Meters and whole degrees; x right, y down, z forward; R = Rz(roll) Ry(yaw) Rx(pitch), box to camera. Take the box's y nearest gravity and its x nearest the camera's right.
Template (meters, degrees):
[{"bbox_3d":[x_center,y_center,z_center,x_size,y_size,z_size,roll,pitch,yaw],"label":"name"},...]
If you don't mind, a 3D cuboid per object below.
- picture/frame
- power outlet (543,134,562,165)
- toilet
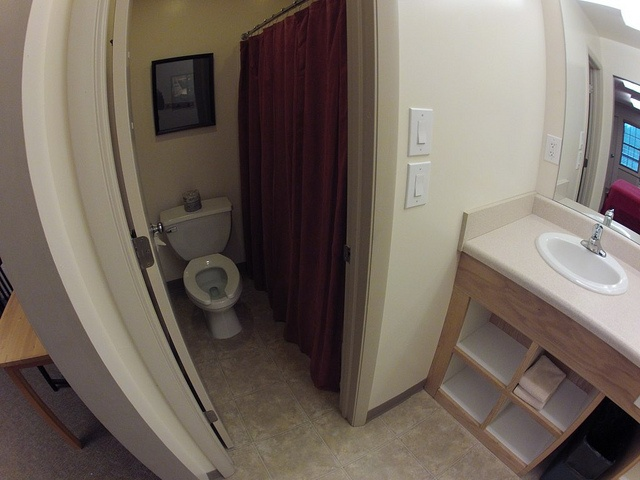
[{"bbox_3d":[-0.904,-0.979,2.895,0.421,0.498,0.034,-13,28,-31],"label":"picture/frame"},{"bbox_3d":[1.176,-0.460,2.244,0.064,0.137,0.024,8,-5,15],"label":"power outlet"},{"bbox_3d":[-0.754,0.245,3.084,0.435,0.809,0.600,-18,40,-21],"label":"toilet"}]
